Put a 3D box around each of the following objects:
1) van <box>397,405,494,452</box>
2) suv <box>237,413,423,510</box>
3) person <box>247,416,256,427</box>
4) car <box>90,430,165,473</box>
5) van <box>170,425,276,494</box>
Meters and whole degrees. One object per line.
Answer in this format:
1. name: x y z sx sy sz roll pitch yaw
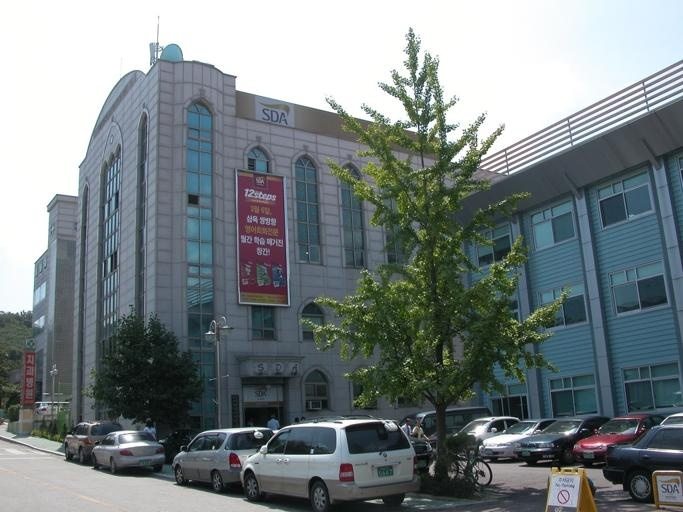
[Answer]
1. van: 6.095 9.712 37.755 5.873 2.895 2.138 -14 -3 38
2. suv: -0.773 6.352 20.801 6.047 2.643 2.073 -14 -22 32
3. person: -5.772 10.529 43.365 0.533 0.379 1.276 9 -11 -5
4. car: -9.480 8.681 30.234 3.628 1.831 1.681 -18 -24 40
5. van: -4.369 7.361 24.967 2.011 1.523 3.613 10 -14 -40
